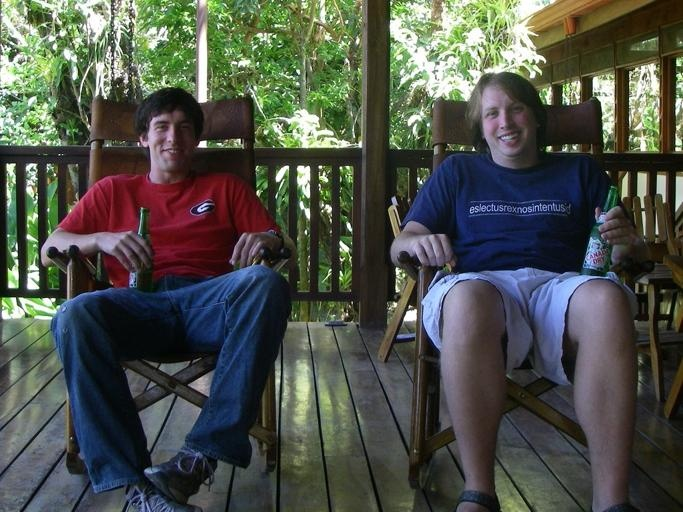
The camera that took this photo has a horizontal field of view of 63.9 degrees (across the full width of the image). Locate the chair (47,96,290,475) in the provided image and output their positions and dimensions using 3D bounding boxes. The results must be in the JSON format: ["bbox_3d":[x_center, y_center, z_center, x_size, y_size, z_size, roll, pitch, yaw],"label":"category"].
[{"bbox_3d":[-0.674,-0.025,2.162,0.871,1.456,1.017,2,2,-4],"label":"chair"}]

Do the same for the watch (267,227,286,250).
[{"bbox_3d":[-0.238,-0.066,2.071,0.055,0.087,0.088,-3,-15,22],"label":"watch"}]
